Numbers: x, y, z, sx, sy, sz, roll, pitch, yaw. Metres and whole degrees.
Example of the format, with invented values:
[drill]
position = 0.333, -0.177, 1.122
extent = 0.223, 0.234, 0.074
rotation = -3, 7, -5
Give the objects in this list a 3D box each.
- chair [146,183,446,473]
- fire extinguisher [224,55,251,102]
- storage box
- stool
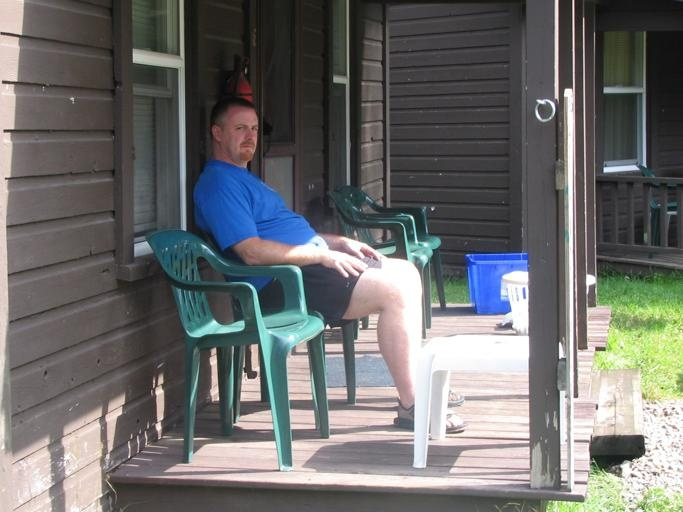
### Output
[chair]
position = -0.443, 0.299, 3.127
extent = 0.717, 1.293, 0.538
rotation = 0, 2, 6
[fire extinguisher]
position = -0.618, -1.076, 3.868
extent = 0.147, 0.281, 0.346
rotation = -2, 7, -5
[storage box]
position = 1.367, 0.240, 5.721
extent = 0.459, 0.505, 0.698
rotation = 0, -1, 4
[stool]
position = 0.598, 0.590, 2.909
extent = 0.574, 0.602, 0.554
rotation = 4, 10, 6
